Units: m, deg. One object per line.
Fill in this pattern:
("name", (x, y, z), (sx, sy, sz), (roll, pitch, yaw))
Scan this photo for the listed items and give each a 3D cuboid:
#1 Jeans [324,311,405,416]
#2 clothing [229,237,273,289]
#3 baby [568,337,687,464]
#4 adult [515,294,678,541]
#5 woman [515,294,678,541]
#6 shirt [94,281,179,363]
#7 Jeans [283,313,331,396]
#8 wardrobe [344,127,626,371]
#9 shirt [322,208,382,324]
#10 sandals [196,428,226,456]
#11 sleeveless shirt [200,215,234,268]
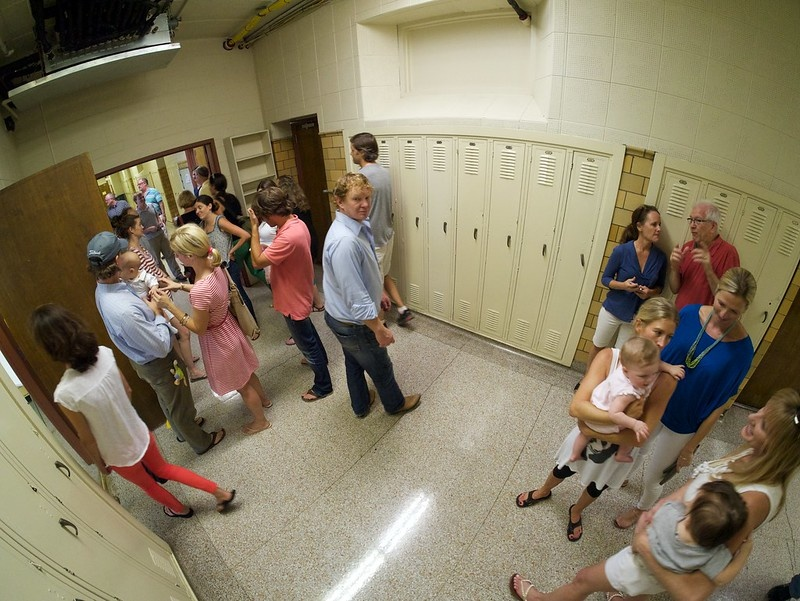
("Jeans", (-0.309, 0.521, 4.223), (0.466, 1.118, 0.394), (15, 40, 36))
("clothing", (-1.571, -0.385, 5.350), (0.122, 0.552, 0.574), (-2, 4, 35))
("baby", (1.471, 0.674, 3.153), (0.541, 0.843, 0.530), (12, 58, 31))
("adult", (1.348, 0.903, 3.347), (0.582, 1.954, 0.565), (16, 30, 12))
("woman", (1.354, 0.912, 3.353), (0.606, 1.985, 0.559), (18, 32, 15))
("shirt", (-1.921, 0.150, 3.643), (0.259, 0.423, 0.455), (-35, 46, -18))
("Jeans", (-0.880, 0.547, 4.711), (0.219, 0.790, 0.298), (-20, 44, -9))
("wardrobe", (0.841, -0.497, 4.579), (1.878, 1.699, 0.673), (28, 37, 32))
("shirt", (-0.360, -0.258, 3.868), (0.448, 0.791, 0.884), (2, 26, 0))
("sandals", (-1.588, 1.190, 4.217), (0.104, 0.062, 0.230), (22, 45, 23))
("sleeveless shirt", (-1.916, -0.566, 5.052), (0.300, 0.517, 0.353), (-19, 29, -7))
